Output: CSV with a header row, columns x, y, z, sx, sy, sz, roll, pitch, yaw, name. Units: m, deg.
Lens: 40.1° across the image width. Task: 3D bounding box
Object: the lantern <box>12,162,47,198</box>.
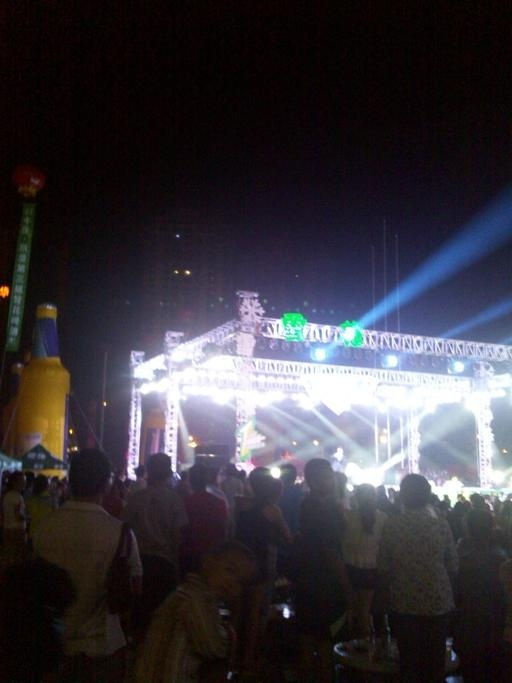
x,y,z,sx,sy,sz,roll,pitch,yaw,name
-4.353,-3.102,13.585,0.491,0.590,0.474,1,2,44,lantern
